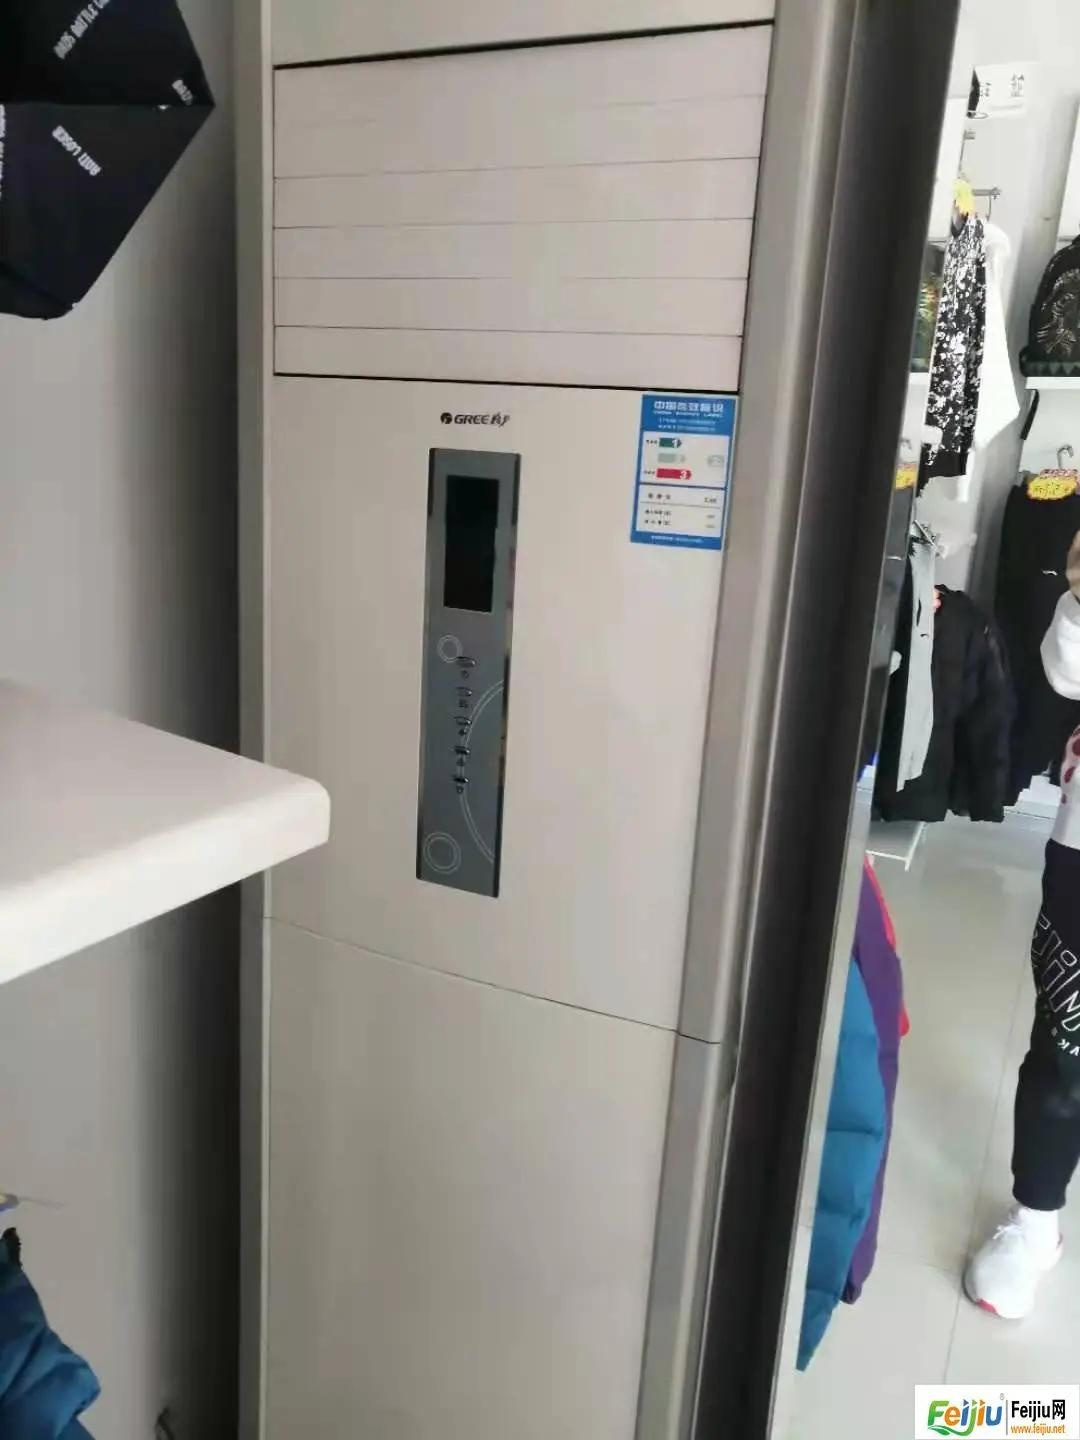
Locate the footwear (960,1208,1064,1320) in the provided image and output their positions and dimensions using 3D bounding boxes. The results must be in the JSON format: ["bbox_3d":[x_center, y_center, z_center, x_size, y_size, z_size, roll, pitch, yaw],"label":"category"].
[{"bbox_3d":[0.593,0.663,1.431,0.170,0.074,0.091,-25,21,-39],"label":"footwear"}]
